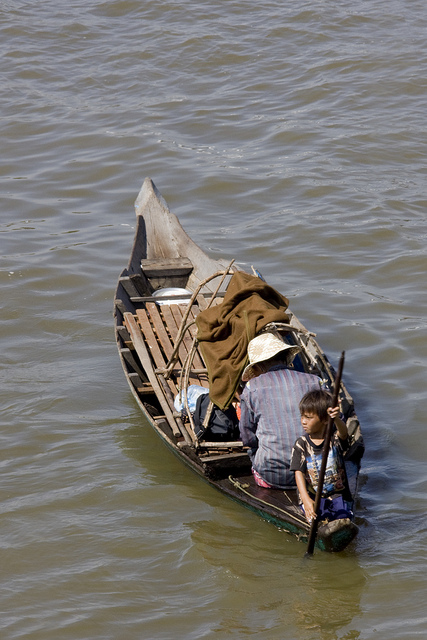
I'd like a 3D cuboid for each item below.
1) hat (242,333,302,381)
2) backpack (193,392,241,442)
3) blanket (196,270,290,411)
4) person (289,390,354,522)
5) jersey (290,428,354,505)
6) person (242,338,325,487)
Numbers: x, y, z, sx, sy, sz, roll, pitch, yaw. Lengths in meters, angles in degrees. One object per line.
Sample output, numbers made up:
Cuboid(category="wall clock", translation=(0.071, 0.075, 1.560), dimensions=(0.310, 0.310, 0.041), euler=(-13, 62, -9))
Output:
Cuboid(category="hat", translation=(0.486, 0.276, 11.328), dimensions=(0.395, 0.497, 0.176), euler=(-10, 53, -25))
Cuboid(category="backpack", translation=(0.033, 0.951, 11.847), dimensions=(0.470, 0.305, 0.626), euler=(-6, 18, -10))
Cuboid(category="blanket", translation=(0.249, 0.263, 12.381), dimensions=(1.048, 0.401, 1.298), euler=(-19, 38, -14))
Cuboid(category="person", translation=(0.944, 1.079, 10.744), dimensions=(0.549, 1.398, 1.072), euler=(-1, 35, 4))
Cuboid(category="jersey", translation=(0.989, 1.324, 10.811), dimensions=(0.635, 0.676, 0.400), euler=(-14, -1, 13))
Cuboid(category="person", translation=(0.608, 0.840, 11.081), dimensions=(0.561, 0.541, 1.547), euler=(-5, 44, -2))
